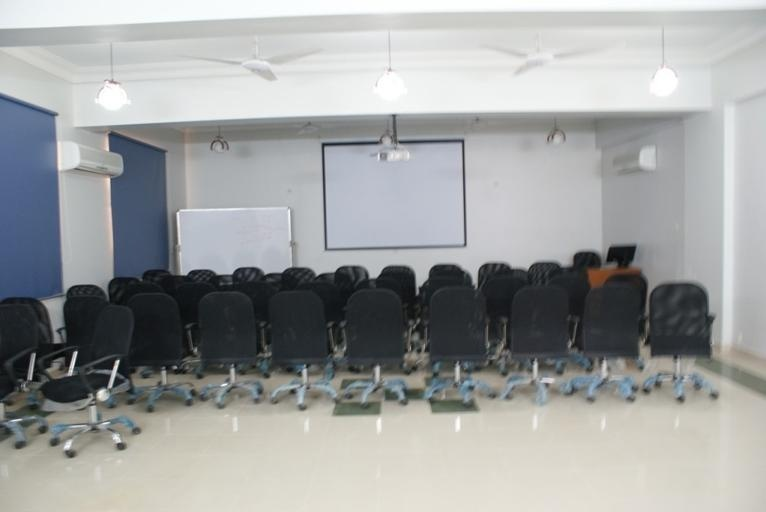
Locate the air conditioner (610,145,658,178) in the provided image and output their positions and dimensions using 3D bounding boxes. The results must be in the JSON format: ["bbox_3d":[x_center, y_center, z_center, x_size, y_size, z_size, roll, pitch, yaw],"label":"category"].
[{"bbox_3d":[4.483,-1.687,10.236,0.254,0.458,1.026,-2,-1,-6],"label":"air conditioner"}]

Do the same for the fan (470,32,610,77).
[{"bbox_3d":[1.912,-2.414,6.749,1.047,0.395,0.954,-3,-1,36],"label":"fan"}]

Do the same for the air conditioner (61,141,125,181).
[{"bbox_3d":[-4.541,-1.507,8.959,0.323,0.527,0.954,-2,-1,18],"label":"air conditioner"}]

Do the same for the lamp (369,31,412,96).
[{"bbox_3d":[0.084,-2.313,7.140,0.430,0.655,0.404,-5,-5,39],"label":"lamp"}]
